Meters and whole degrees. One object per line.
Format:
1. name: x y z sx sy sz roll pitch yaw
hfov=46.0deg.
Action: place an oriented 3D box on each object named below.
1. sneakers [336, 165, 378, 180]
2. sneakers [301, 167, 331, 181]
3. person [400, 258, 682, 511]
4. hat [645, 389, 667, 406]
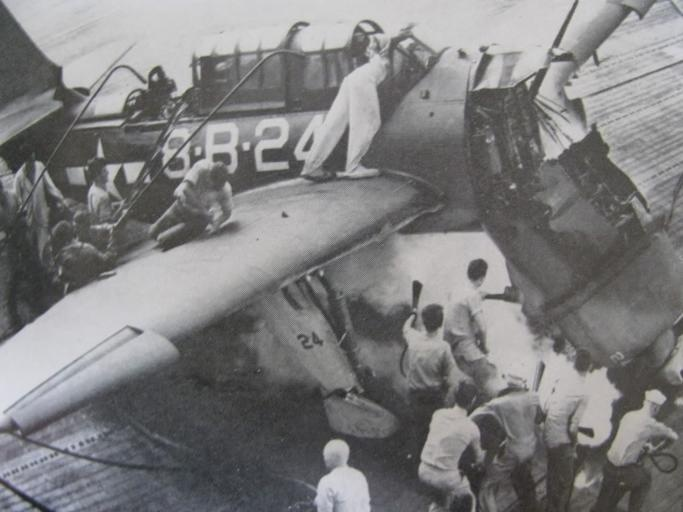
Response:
1. sneakers: 0.170 -0.866 8.236 0.381 0.148 0.182 0 99 2
2. sneakers: -0.252 -0.847 8.332 0.331 0.166 0.120 -8 20 -3
3. person: 2.113 1.285 8.028 2.380 1.062 1.588 16 57 5
4. hat: 3.089 1.388 7.963 0.202 0.066 0.119 20 58 8
